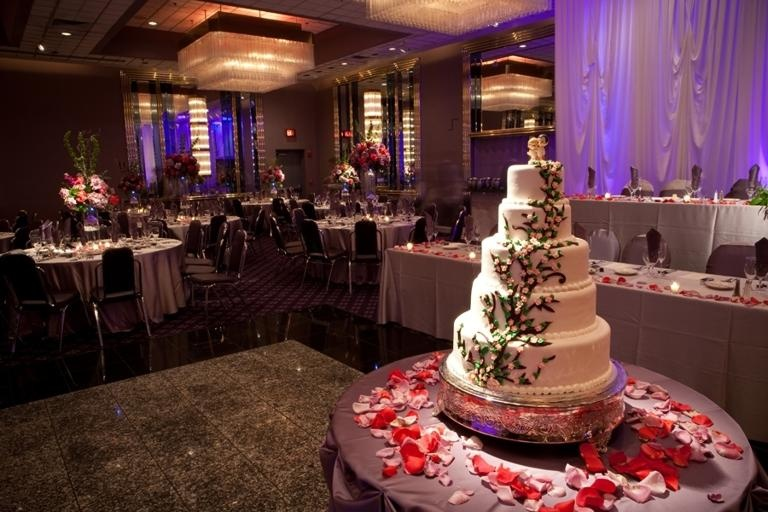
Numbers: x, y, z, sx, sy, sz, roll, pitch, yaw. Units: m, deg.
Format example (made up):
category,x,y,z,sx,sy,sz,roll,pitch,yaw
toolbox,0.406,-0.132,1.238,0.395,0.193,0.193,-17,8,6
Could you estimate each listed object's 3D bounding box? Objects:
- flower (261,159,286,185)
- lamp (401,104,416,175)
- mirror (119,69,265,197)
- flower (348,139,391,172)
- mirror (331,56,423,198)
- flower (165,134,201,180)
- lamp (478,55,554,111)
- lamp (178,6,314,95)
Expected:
category,x,y,z,sx,sy,sz,roll,pitch,yaw
flower,-3.088,-2.254,14.189,0.801,0.873,0.844,-4,10,-10
lamp,0.631,-2.894,12.887,0.157,1.687,0.508,-11,14,-34
mirror,-5.169,-3.247,13.229,3.296,2.847,0.154,-10,18,-39
flower,-0.259,-1.930,9.673,0.605,0.523,0.596,-5,14,-28
mirror,-0.080,-3.293,12.785,0.200,3.430,3.909,-4,5,-35
flower,-4.112,-1.958,10.446,0.728,0.964,0.740,8,12,-5
lamp,2.785,-3.664,10.778,1.116,0.915,1.324,1,4,-6
lamp,-3.078,-4.068,10.669,1.918,1.017,1.806,-3,2,-32
